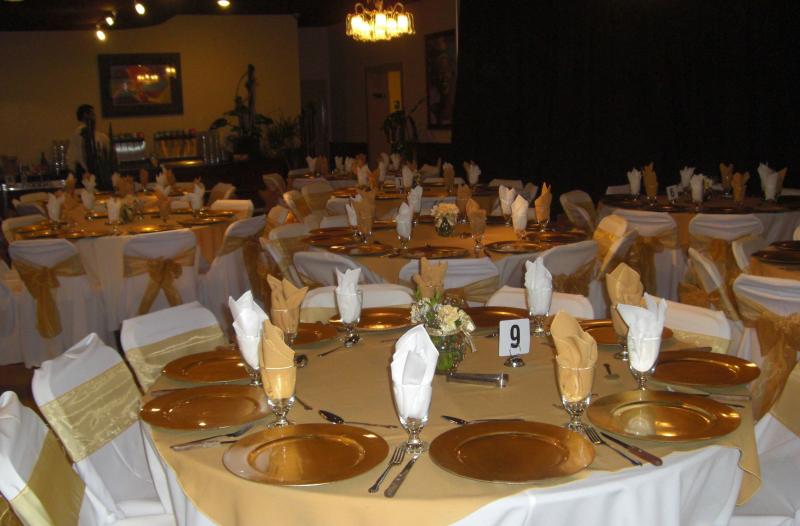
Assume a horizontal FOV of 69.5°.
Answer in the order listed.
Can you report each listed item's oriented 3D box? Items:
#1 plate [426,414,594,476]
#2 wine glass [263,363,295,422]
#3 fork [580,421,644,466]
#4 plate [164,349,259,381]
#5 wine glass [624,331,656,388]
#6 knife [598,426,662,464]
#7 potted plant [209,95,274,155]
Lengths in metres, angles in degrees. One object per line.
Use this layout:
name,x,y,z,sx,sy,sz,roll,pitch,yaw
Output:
plate,0.351,0.591,1.838,0.516,0.079,0.283,-2,8,2
wine glass,-0.422,0.444,2.021,0.108,0.233,0.184,-4,8,-14
fork,0.682,0.593,1.859,0.023,0.027,0.168,-23,35,-26
plate,-0.814,0.430,2.434,0.198,0.023,0.199,-5,17,-36
wine glass,0.911,0.356,2.174,0.104,0.238,0.178,1,9,22
knife,0.734,0.581,1.871,0.047,0.026,0.276,-20,21,-14
potted plant,-3.667,-3.216,13.209,1.286,1.453,0.916,-4,8,-13
